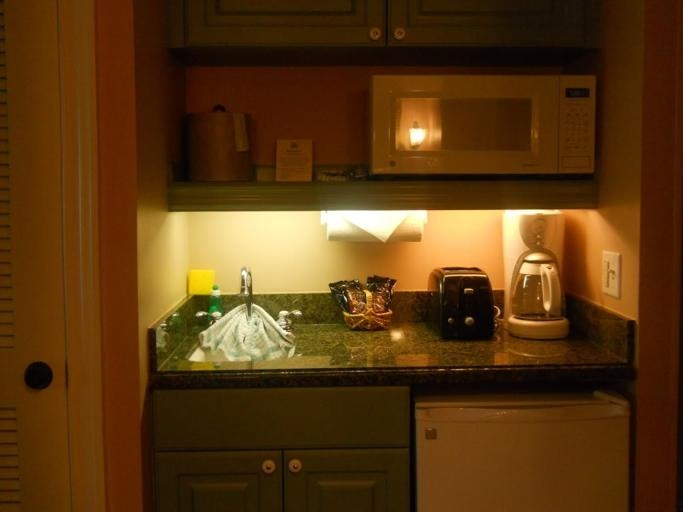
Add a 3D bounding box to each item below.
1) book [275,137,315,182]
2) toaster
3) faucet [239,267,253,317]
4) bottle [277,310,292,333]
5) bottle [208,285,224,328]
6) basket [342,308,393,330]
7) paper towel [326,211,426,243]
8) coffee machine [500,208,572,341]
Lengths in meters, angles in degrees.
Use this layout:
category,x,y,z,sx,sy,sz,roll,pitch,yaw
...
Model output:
category,x,y,z,sx,sy,sz,roll,pitch,yaw
book,-0.182,-0.373,2.665,0.168,0.225,0.022,1,0,-4
toaster,0.465,0.172,2.615,0.251,0.294,0.218,-2,-8,7
faucet,-0.359,0.138,2.599,0.042,0.180,0.111,0,-8,-3
bottle,-0.221,0.254,2.698,0.057,0.088,0.114,0,-8,-6
bottle,-0.491,0.183,2.675,0.054,0.147,0.056,3,17,-1
basket,0.130,0.252,2.677,0.226,0.074,0.090,4,-9,-30
paper towel,0.131,-0.118,2.689,0.409,0.114,0.078,0,-8,-7
coffee machine,0.724,0.065,2.580,0.198,0.495,0.213,2,6,-3
